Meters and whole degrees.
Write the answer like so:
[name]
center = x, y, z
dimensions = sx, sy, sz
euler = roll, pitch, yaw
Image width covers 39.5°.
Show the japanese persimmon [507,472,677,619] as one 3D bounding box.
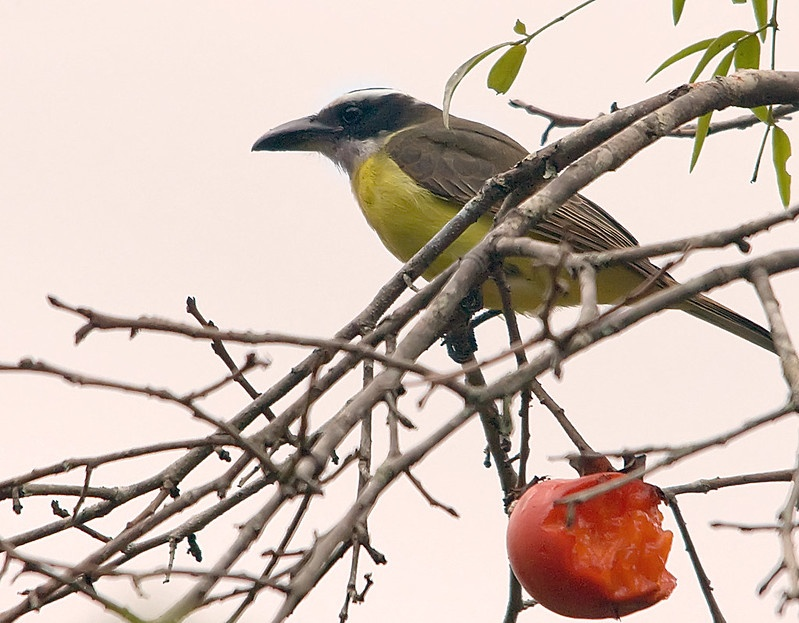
[japanese persimmon]
center = 0.497, 0.629, 2.913
dimensions = 0.419, 0.393, 0.379
euler = -17, -67, 13
